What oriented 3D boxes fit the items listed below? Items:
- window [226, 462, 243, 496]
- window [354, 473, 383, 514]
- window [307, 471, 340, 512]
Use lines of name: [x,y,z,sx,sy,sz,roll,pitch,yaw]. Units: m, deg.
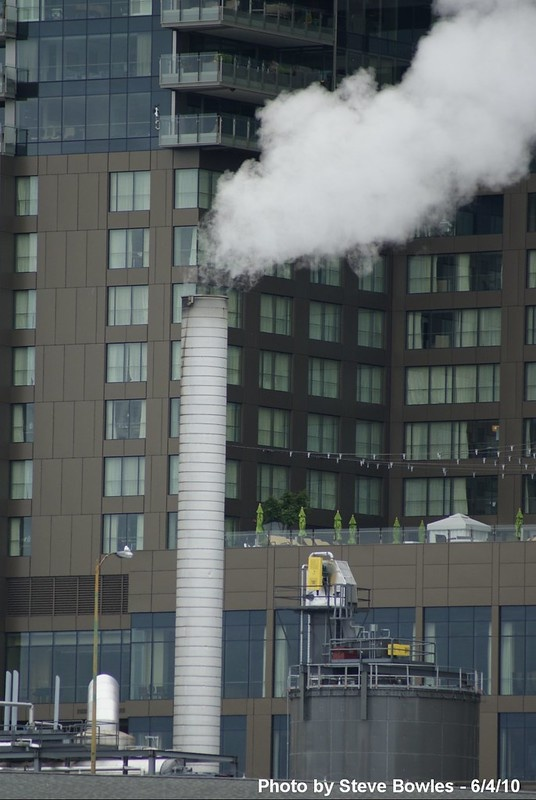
window: [-1.874,4.545,143.794,1.113,2.445,0.194,19,-33,-41]
window: [5.310,5.603,150.151,0.180,2.292,1.623,-11,-17,41]
window: [2.806,5.387,147.691,1.575,2.178,0.083,17,-26,-39]
